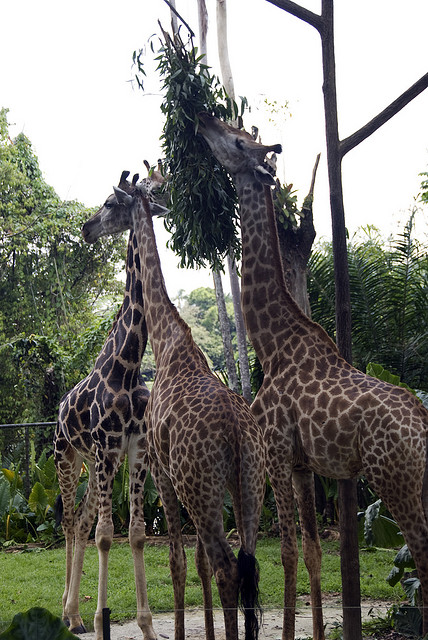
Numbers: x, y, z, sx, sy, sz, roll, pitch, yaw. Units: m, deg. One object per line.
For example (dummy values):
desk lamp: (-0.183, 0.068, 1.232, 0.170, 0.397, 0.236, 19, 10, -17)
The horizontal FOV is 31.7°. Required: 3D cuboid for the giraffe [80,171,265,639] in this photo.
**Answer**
giraffe: (-0.247, 0.557, 5.044, 0.948, 2.943, 2.877, -2, -16, -2)
